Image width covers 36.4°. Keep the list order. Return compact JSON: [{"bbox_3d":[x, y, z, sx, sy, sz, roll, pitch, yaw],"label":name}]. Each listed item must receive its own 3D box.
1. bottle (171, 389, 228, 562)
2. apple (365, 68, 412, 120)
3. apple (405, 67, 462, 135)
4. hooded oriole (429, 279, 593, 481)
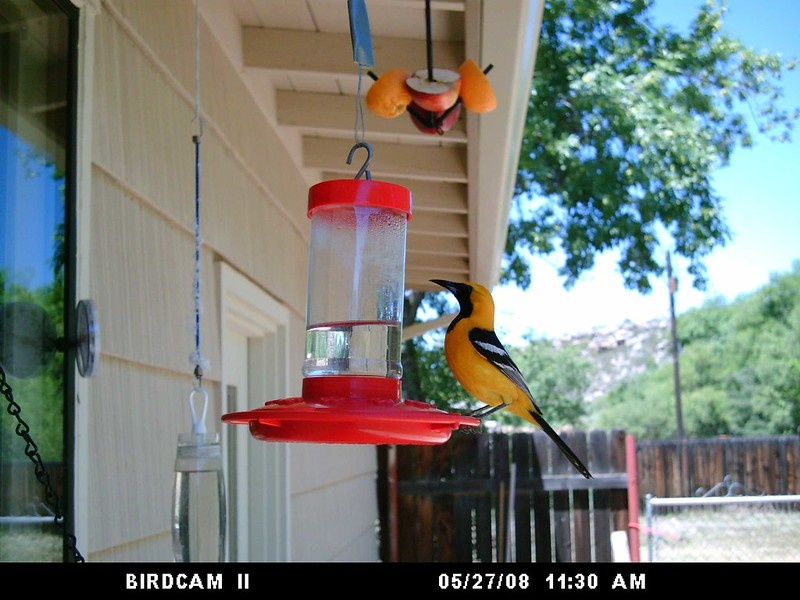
[{"bbox_3d":[-0.726,0.629,4.396,0.189,0.653,0.235,1,-14,-11],"label":"bottle"},{"bbox_3d":[-0.040,-0.827,4.758,0.172,0.214,0.170,-4,-14,6],"label":"apple"},{"bbox_3d":[0.130,-0.790,4.780,0.212,0.206,0.267,-2,-14,0],"label":"apple"},{"bbox_3d":[0.391,0.236,5.353,0.214,0.596,0.647,-11,-16,33],"label":"hooded oriole"}]
